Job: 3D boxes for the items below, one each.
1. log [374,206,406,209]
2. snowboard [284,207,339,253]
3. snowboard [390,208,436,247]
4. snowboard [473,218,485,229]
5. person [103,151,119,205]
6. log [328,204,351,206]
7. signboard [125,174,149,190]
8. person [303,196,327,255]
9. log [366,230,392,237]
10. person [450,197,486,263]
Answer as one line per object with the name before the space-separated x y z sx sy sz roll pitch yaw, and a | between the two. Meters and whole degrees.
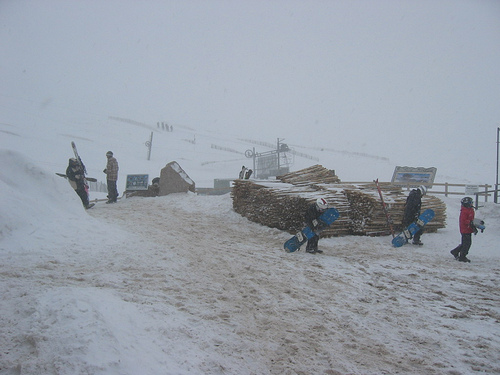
log | 5.302 0.754 15.228 0.467 0.130 0.503 1 -2 -6
snowboard | 1.970 1.375 12.920 0.431 1.765 0.268 48 3 3
snowboard | 5.790 1.457 14.681 0.352 1.511 0.224 41 -8 21
snowboard | 6.718 1.105 12.037 0.355 0.134 0.273 8 45 27
person | -6.609 -0.456 19.436 0.596 2.543 1.416 2 3 -18
log | 3.205 0.625 14.559 1.084 0.058 0.120 2 3 -36
signboard | -6.013 -0.285 21.634 1.435 0.913 0.373 5 4 23
person | 1.963 1.173 12.470 0.389 1.105 1.117 36 -16 20
log | 4.693 1.683 14.999 1.109 0.296 0.222 -1 2 -22
person | 6.572 1.292 12.396 0.718 1.978 0.744 5 4 31
